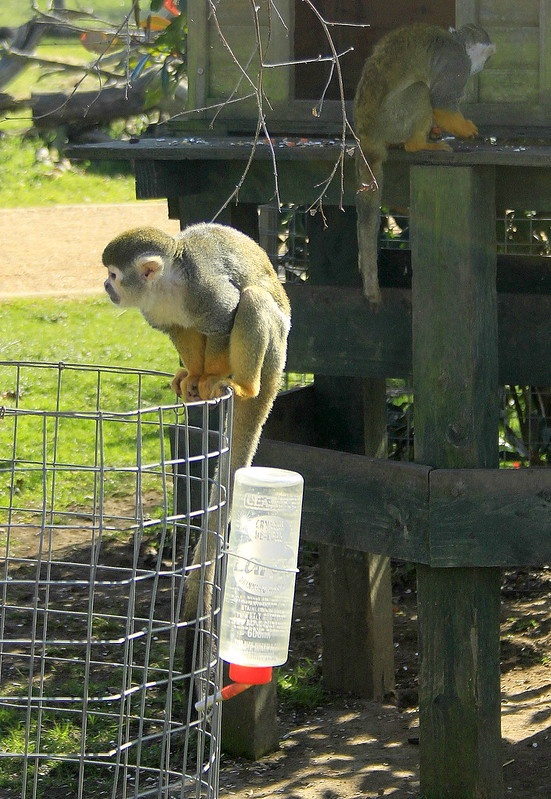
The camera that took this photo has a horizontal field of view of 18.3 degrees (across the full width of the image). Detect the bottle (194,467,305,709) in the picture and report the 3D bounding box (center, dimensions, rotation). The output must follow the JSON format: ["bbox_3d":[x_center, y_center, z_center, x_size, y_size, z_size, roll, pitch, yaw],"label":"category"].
[{"bbox_3d":[-0.082,0.592,5.322,0.315,0.763,0.349,1,0,-3],"label":"bottle"}]

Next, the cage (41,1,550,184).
[{"bbox_3d":[0.091,-1.476,8.069,1.297,0.625,1.288,-10,12,-39],"label":"cage"}]
